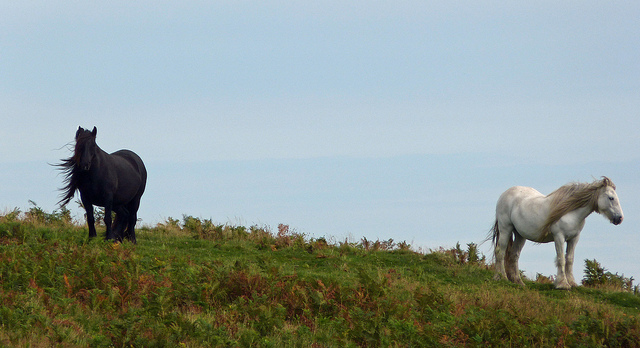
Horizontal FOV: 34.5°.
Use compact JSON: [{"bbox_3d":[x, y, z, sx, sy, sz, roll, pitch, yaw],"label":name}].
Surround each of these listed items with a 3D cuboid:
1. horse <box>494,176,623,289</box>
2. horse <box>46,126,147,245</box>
[{"bbox_3d":[10.426,2.658,46.013,2.300,4.982,7.063,6,-5,-40],"label":"horse"},{"bbox_3d":[-9.348,0.436,45.775,1.821,5.252,3.657,14,12,33],"label":"horse"}]
